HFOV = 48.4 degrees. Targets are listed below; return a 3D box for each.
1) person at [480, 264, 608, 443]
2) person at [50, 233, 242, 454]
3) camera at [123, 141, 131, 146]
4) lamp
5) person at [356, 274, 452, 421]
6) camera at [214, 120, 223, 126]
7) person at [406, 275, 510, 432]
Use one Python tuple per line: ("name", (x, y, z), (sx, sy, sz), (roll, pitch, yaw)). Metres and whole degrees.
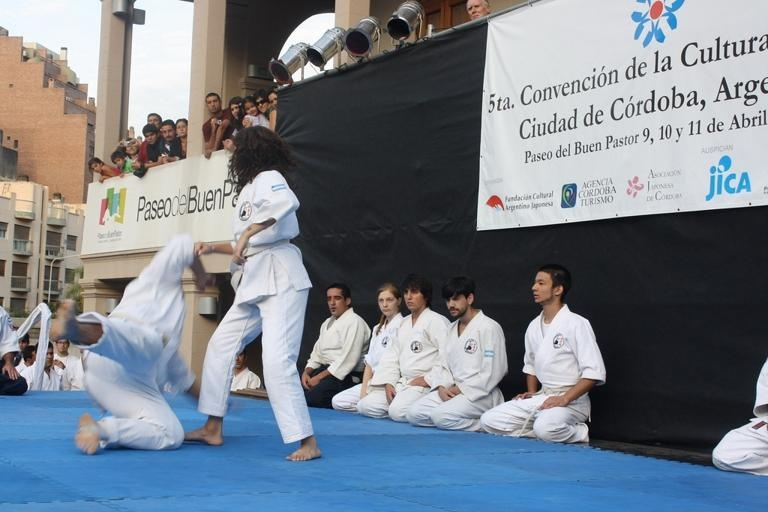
("person", (1.574, 0.978, 8.175), (1.111, 2.140, 1.366), (4, -7, -19))
("person", (-1.953, 0.728, 6.768), (0.871, 1.644, 1.788), (-11, -15, 9))
("camera", (-4.548, -2.012, 15.154), (0.121, 0.034, 0.117), (-14, 36, 27))
("lamp", (-0.525, -2.733, 10.780), (0.886, 0.767, 2.239), (2, -3, -37))
("person", (0.216, 1.003, 9.098), (1.053, 1.572, 0.954), (-2, 4, 9))
("camera", (-2.499, -2.022, 12.910), (0.115, 0.040, 0.162), (1, 2, -7))
("person", (0.725, 0.993, 8.614), (0.924, 1.494, 0.981), (-1, -1, 43))
